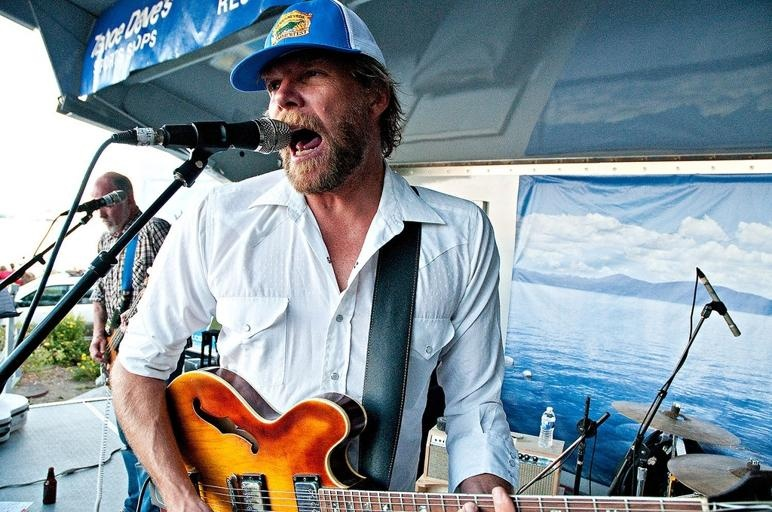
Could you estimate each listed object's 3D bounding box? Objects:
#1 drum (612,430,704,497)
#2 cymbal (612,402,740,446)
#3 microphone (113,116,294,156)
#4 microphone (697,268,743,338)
[{"bbox_3d":[2.523,1.927,5.459,0.422,0.881,0.707,6,1,14],"label":"drum"},{"bbox_3d":[2.715,1.456,5.475,0.964,0.205,0.984,6,5,-40],"label":"cymbal"},{"bbox_3d":[-0.971,-0.636,3.167,0.934,0.239,0.226,-4,-6,-23],"label":"microphone"},{"bbox_3d":[3.098,0.435,5.393,0.108,0.691,0.091,-33,-28,27],"label":"microphone"}]
